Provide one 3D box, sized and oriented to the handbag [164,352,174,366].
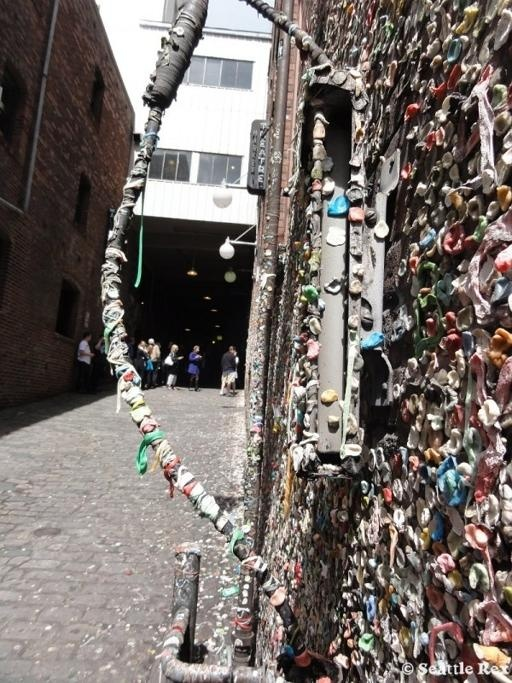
[{"bbox_3d":[-3.551,0.733,17.879,0.335,0.496,0.906,4,0,-10],"label":"handbag"}]
